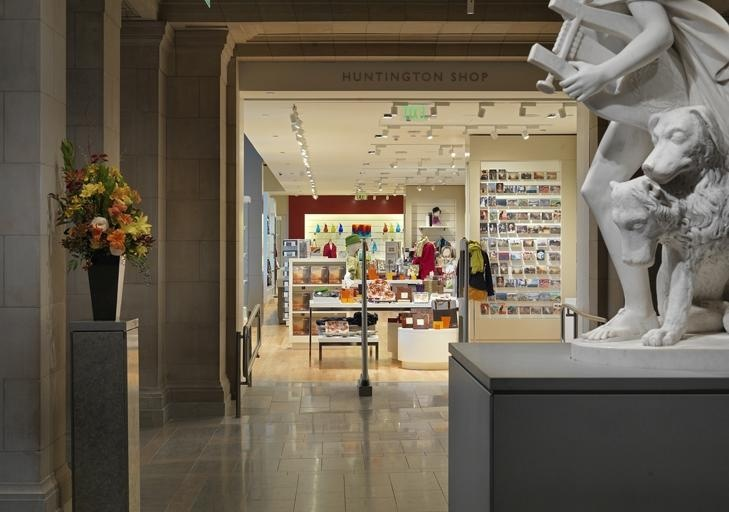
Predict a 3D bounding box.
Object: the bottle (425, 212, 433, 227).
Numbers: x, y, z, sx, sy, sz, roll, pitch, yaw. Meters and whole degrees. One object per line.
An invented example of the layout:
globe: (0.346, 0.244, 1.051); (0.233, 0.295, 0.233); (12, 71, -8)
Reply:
bottle: (1.952, -1.133, 19.151); (0.163, 0.387, 0.282); (-1, 3, -25)

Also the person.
person: (1.009, -0.342, 2.632); (0.489, 1.353, 0.403); (1, 2, 26)

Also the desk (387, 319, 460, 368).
desk: (0.777, 1.225, 8.515); (1.023, 0.651, 1.064); (0, -1, 10)

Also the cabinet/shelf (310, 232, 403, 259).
cabinet/shelf: (-0.460, -0.350, 21.562); (3.248, 0.910, 4.340); (0, 3, 1)

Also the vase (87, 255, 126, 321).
vase: (-1.612, 0.191, 3.961); (0.214, 0.420, 0.133); (-1, 2, -23)

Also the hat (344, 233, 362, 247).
hat: (-0.234, -0.404, 13.349); (0.253, 0.294, 0.328); (-16, -16, 4)

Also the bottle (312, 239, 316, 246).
bottle: (-1.839, -0.502, 23.321); (0.244, 0.237, 0.126); (-1, -6, -2)

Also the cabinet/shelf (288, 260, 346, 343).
cabinet/shelf: (-0.859, 0.627, 10.649); (1.145, 1.621, 1.159); (0, 0, 0)
